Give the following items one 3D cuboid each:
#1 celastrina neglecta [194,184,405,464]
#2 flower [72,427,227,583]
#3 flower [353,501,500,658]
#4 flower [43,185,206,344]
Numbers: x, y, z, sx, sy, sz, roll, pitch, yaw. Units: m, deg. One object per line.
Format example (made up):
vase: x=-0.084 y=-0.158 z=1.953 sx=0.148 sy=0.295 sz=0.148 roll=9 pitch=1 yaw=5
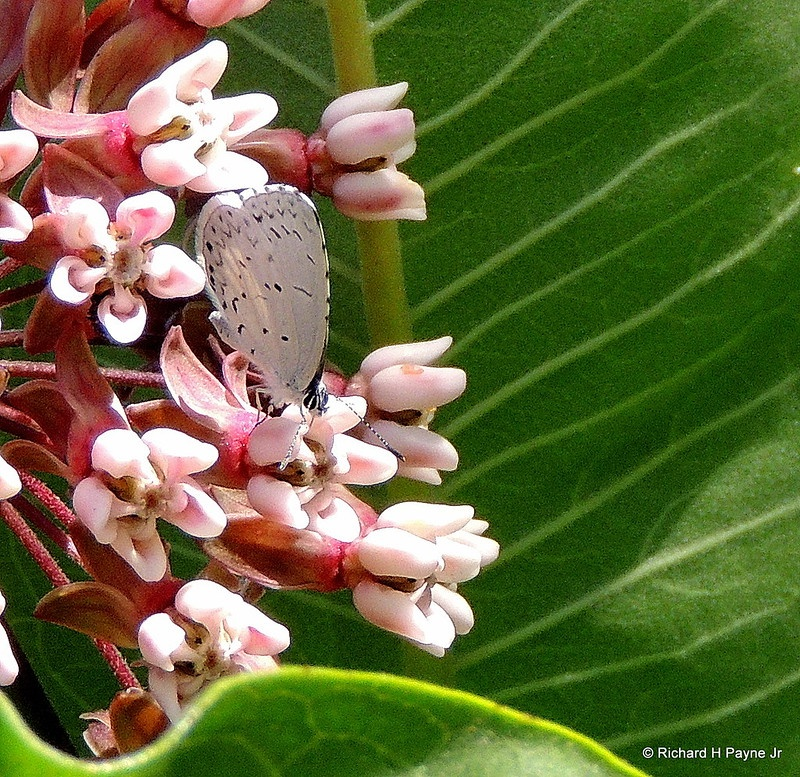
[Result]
celastrina neglecta: x=-0.114 y=-0.071 z=1.576 sx=0.235 sy=0.148 sz=0.294 roll=-14 pitch=56 yaw=-38
flower: x=-0.237 y=0.102 z=1.387 sx=0.135 sy=0.145 sz=0.070 roll=-27 pitch=30 yaw=-29
flower: x=0.024 y=0.191 z=1.553 sx=0.078 sy=0.167 sz=0.168 roll=1 pitch=59 yaw=26
flower: x=-0.262 y=-0.119 z=1.369 sx=0.139 sy=0.146 sz=0.080 roll=-14 pitch=27 yaw=-6
